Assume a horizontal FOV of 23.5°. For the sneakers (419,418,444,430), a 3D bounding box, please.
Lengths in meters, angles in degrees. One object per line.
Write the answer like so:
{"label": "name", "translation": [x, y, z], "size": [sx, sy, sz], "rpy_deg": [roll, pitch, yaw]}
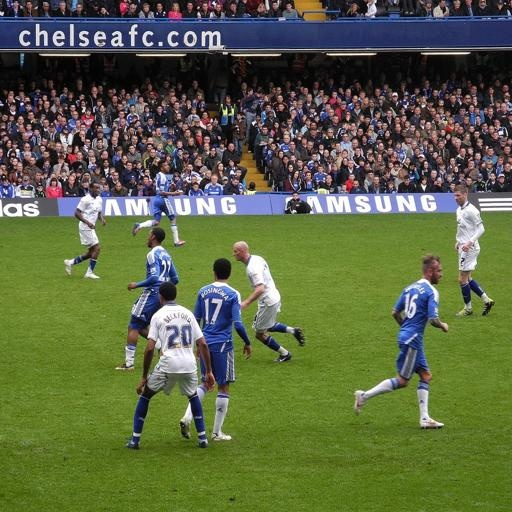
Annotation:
{"label": "sneakers", "translation": [2.546, 2.448, 18.026], "size": [0.358, 0.190, 0.137], "rpy_deg": [-1, 9, -8]}

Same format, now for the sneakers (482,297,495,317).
{"label": "sneakers", "translation": [4.523, 1.002, 24.025], "size": [0.101, 0.326, 0.220], "rpy_deg": [-11, 38, -30]}

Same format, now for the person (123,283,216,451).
{"label": "person", "translation": [-1.155, 1.559, 17.171], "size": [1.182, 2.372, 0.465], "rpy_deg": [0, 11, -4]}

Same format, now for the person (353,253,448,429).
{"label": "person", "translation": [2.253, 1.252, 18.225], "size": [1.099, 2.451, 0.879], "rpy_deg": [2, 11, 6]}

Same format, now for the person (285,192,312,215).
{"label": "person", "translation": [1.268, -1.657, 37.590], "size": [0.696, 0.675, 0.614], "rpy_deg": [-10, 16, -42]}

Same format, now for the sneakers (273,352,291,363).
{"label": "sneakers", "translation": [0.452, 1.752, 21.171], "size": [0.299, 0.122, 0.146], "rpy_deg": [-22, 36, 15]}

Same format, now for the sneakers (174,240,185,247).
{"label": "sneakers", "translation": [-1.934, -0.329, 31.067], "size": [0.108, 0.148, 0.283], "rpy_deg": [-2, -4, -25]}

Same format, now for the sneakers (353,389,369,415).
{"label": "sneakers", "translation": [1.556, 2.173, 18.122], "size": [0.125, 0.389, 0.176], "rpy_deg": [0, 20, -7]}

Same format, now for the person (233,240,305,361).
{"label": "person", "translation": [0.259, 0.901, 22.922], "size": [1.403, 2.363, 1.032], "rpy_deg": [-6, 27, 9]}

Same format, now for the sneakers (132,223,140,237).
{"label": "sneakers", "translation": [-2.962, -0.678, 30.599], "size": [0.168, 0.363, 0.212], "rpy_deg": [-4, -9, 16]}

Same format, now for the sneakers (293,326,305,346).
{"label": "sneakers", "translation": [0.759, 1.386, 21.447], "size": [0.163, 0.396, 0.141], "rpy_deg": [-11, 38, 4]}

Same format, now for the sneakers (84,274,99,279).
{"label": "sneakers", "translation": [-3.547, 0.425, 26.852], "size": [0.269, 0.137, 0.124], "rpy_deg": [-1, 11, 7]}

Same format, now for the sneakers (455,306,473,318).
{"label": "sneakers", "translation": [4.077, 1.088, 24.060], "size": [0.403, 0.291, 0.150], "rpy_deg": [0, 0, 5]}

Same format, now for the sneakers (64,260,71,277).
{"label": "sneakers", "translation": [-4.078, 0.230, 26.918], "size": [0.167, 0.406, 0.138], "rpy_deg": [-3, 10, -1]}

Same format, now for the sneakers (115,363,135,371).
{"label": "sneakers", "translation": [-2.171, 1.844, 20.559], "size": [0.315, 0.155, 0.123], "rpy_deg": [3, 7, 2]}
